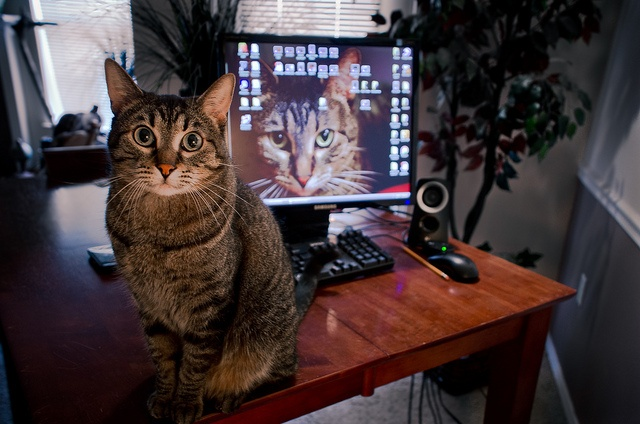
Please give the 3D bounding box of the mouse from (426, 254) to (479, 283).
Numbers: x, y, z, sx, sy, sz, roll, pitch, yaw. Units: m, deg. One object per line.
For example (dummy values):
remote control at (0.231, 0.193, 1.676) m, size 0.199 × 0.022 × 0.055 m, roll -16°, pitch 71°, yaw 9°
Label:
mouse at (0.442, 0.175, 1.516) m, size 0.075 × 0.042 × 0.128 m, roll -8°, pitch 29°, yaw -35°

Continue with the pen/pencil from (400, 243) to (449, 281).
pen/pencil at (0.350, 0.170, 1.557) m, size 0.023 × 0.024 × 0.161 m, roll -40°, pitch 47°, yaw -9°

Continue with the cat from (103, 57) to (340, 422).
cat at (-0.310, 0.056, 1.212) m, size 0.446 × 0.866 × 0.344 m, roll -9°, pitch 20°, yaw -18°

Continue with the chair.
chair at (-1.181, -0.225, 2.257) m, size 0.298 × 0.221 × 0.209 m, roll -8°, pitch 19°, yaw -25°
